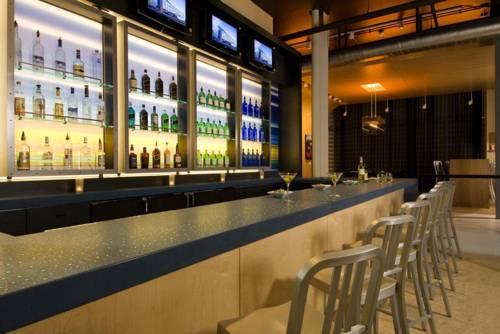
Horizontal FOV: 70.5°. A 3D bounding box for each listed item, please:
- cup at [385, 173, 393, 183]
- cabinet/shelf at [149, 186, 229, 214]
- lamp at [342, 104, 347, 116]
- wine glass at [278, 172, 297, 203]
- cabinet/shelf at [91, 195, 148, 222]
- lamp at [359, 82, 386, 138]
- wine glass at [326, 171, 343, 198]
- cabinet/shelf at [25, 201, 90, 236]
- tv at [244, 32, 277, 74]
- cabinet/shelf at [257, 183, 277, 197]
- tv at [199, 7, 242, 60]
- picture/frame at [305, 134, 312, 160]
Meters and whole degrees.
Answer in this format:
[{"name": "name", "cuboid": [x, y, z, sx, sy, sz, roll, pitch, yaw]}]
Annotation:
[{"name": "cup", "cuboid": [2.123, 0.158, 5.436, 0.152, 0.157, 0.157, -1, 0, 0]}, {"name": "cabinet/shelf", "cuboid": [-0.939, 0.451, 4.667, 1.463, 0.333, 0.214, -3, 13, 3]}, {"name": "lamp", "cuboid": [3.564, -2.118, 13.303, 0.162, 0.467, 0.428, 5, 15, 14]}, {"name": "wine glass", "cuboid": [0.318, 0.191, 3.644, 0.261, 0.351, 0.275, -1, -1, 17]}, {"name": "cabinet/shelf", "cuboid": [-1.483, 0.478, 3.945, 0.190, 0.208, 0.632, -9, -4, 38]}, {"name": "lamp", "cuboid": [3.759, -1.725, 10.749, 0.543, 1.339, 1.558, 1, 3, 26]}, {"name": "wine glass", "cuboid": [0.978, 0.194, 4.099, 0.226, 0.275, 0.215, 2, -3, -36]}, {"name": "cabinet/shelf", "cuboid": [-2.012, 0.450, 3.623, 0.612, 0.253, 0.415, -1, 14, -45]}, {"name": "tv", "cuboid": [0.283, -2.006, 6.337, 0.109, 0.537, 0.787, -20, 39, -22]}, {"name": "cabinet/shelf", "cuboid": [0.261, 0.376, 5.872, 0.078, 0.166, 0.400, -8, -9, 37]}, {"name": "tv", "cuboid": [-0.485, -2.056, 5.430, 0.096, 0.683, 0.964, 1, 0, 34]}, {"name": "picture/frame", "cuboid": [1.995, -0.695, 12.335, 0.166, 0.871, 0.486, 9, 17, 29]}]
